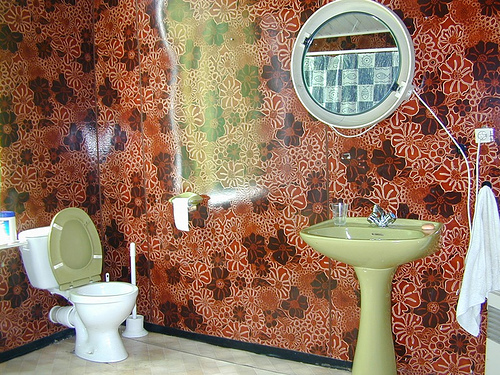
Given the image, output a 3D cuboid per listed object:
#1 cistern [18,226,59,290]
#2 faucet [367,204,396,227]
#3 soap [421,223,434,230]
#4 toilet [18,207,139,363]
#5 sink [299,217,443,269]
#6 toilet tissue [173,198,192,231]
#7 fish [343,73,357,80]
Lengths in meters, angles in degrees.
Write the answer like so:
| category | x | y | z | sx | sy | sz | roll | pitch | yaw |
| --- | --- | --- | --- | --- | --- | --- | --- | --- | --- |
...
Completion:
| category | x | y | z | sx | sy | sz | roll | pitch | yaw |
| --- | --- | --- | --- | --- | --- | --- | --- | --- | --- |
| cistern | -1.603 | 0.567 | 3.232 | 0.261 | 0.372 | 0.360 | -14 | -3 | -13 |
| faucet | 0.815 | 0.175 | 2.720 | 0.112 | 0.125 | 0.055 | 4 | 0 | 25 |
| soap | 1.037 | 0.230 | 2.578 | 0.064 | 0.028 | 0.065 | 5 | 11 | 24 |
| toilet | -1.214 | 0.691 | 3.204 | 0.775 | 1.104 | 0.527 | -2 | 4 | 26 |
| sink | 0.721 | 0.325 | 2.609 | 0.766 | 0.260 | 0.560 | 4 | 11 | 23 |
| toilet tissue | -0.497 | 0.195 | 3.254 | 0.138 | 0.235 | 0.059 | 4 | 11 | 23 |
| fish | 0.638 | -0.713 | 2.814 | 0.085 | 0.040 | 0.014 | 2 | 10 | 12 |
